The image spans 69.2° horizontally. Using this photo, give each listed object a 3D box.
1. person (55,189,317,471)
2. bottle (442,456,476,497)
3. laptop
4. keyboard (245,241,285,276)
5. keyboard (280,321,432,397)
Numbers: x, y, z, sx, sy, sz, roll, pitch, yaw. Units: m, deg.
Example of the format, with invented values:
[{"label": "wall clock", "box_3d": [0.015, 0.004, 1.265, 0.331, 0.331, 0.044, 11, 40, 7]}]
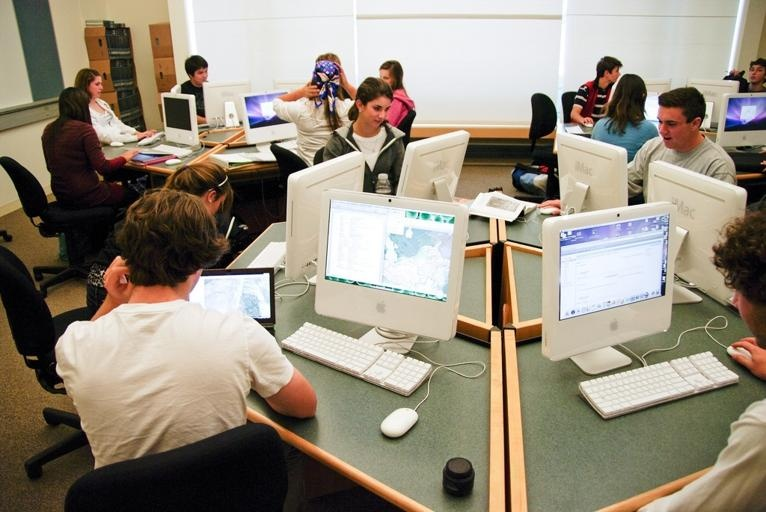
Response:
[{"label": "person", "box_3d": [-0.721, 0.280, 1.975, 0.556, 0.918, 0.669, 16, 30, 35]}, {"label": "bottle", "box_3d": [0.275, 0.795, 2.064, 0.122, 0.106, 0.118, -2, 22, -3]}, {"label": "laptop", "box_3d": [-0.673, 0.167, 2.520, 0.412, 0.263, 0.270, -1, 11, -3]}, {"label": "keyboard", "box_3d": [-0.623, -0.005, 3.046, 0.144, 0.054, 0.275, 3, 23, 10]}, {"label": "keyboard", "box_3d": [-0.247, 0.409, 2.542, 0.547, 0.048, 0.177, 11, 41, 44]}]
